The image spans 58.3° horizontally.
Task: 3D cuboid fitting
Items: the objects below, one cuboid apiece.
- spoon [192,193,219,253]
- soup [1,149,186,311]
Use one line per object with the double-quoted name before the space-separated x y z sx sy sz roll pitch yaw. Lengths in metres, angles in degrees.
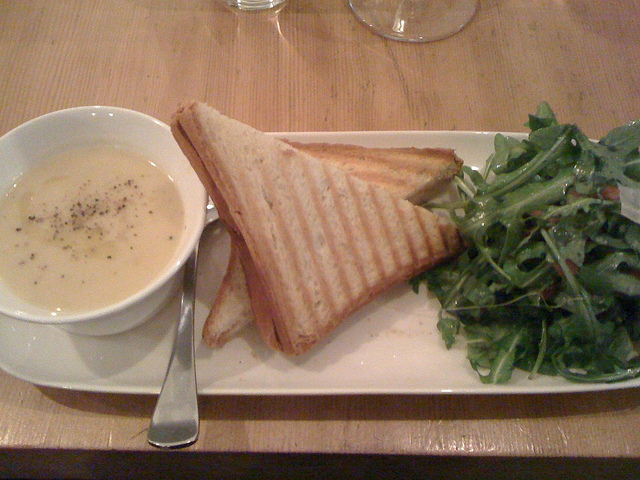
"spoon" -0.350 -0.049 1.754 0.054 0.016 0.179 21 92 -16
"soup" -0.654 -0.041 1.577 0.458 0.112 0.468 1 75 -3
